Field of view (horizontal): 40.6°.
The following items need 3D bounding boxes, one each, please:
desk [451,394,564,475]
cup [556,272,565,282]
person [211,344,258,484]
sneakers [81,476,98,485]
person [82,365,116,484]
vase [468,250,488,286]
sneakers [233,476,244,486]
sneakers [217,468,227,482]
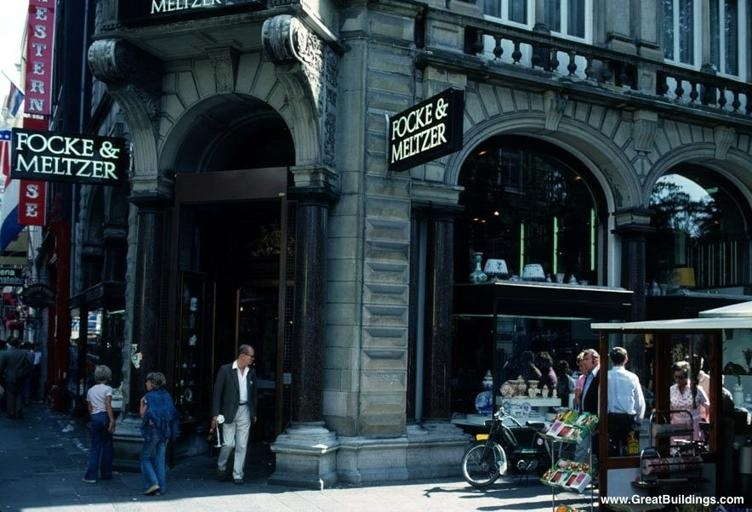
[{"bbox_3d":[2.793,3.819,20.785,2.251,1.475,1.036,2,-5,-24],"label":"desk"},{"bbox_3d":[4.241,0.511,23.580,0.177,0.204,0.192,1,1,0],"label":"cup"},{"bbox_3d":[-2.874,3.168,20.536,0.867,2.720,0.413,4,-6,-10],"label":"person"},{"bbox_3d":[-5.706,4.448,20.257,0.359,0.106,0.160,-1,-8,31],"label":"sneakers"},{"bbox_3d":[-5.493,3.365,20.416,0.538,2.287,0.577,1,-6,17],"label":"person"},{"bbox_3d":[2.246,0.261,22.834,0.550,0.891,0.608,-2,-5,7],"label":"vase"},{"bbox_3d":[-2.738,4.479,20.254,0.193,0.086,0.085,-2,-3,13],"label":"sneakers"},{"bbox_3d":[-3.122,4.401,20.563,0.129,0.250,0.154,-2,11,-26],"label":"sneakers"}]
